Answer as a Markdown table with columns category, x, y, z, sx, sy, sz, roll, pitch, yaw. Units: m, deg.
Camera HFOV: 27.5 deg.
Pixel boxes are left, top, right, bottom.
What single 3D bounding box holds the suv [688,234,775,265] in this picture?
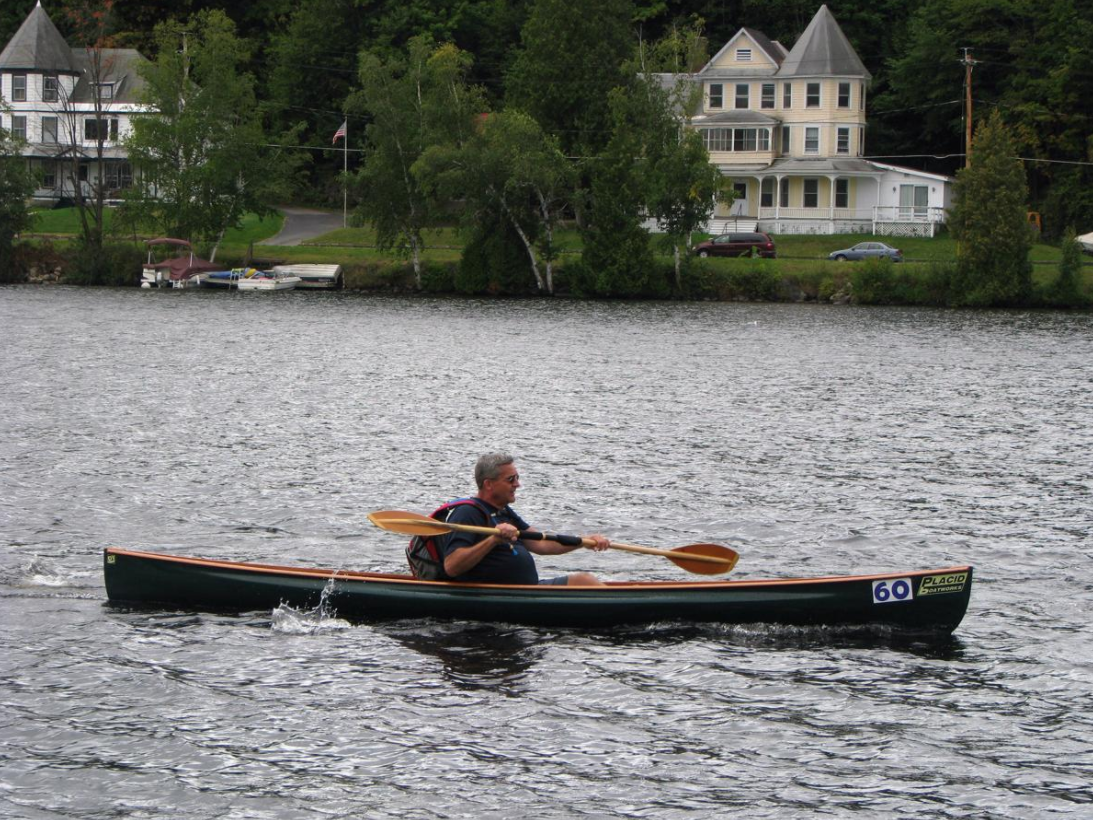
| category | x | y | z | sx | sy | sz | roll | pitch | yaw |
| --- | --- | --- | --- | --- | --- | --- | --- | --- | --- |
| suv | 8.354 | -7.377 | 100.353 | 3.498 | 1.029 | 1.555 | 3 | 5 | 12 |

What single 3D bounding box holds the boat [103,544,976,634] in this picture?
| category | x | y | z | sx | sy | sz | roll | pitch | yaw |
| --- | --- | --- | --- | --- | --- | --- | --- | --- | --- |
| boat | -0.048 | 3.849 | 49.577 | 19.099 | 1.684 | 3.061 | 1 | 0 | -2 |

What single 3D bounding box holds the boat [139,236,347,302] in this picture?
| category | x | y | z | sx | sy | sz | roll | pitch | yaw |
| --- | --- | --- | --- | --- | --- | --- | --- | --- | --- |
| boat | -13.962 | -6.431 | 98.558 | 9.498 | 2.446 | 3.721 | 1 | 3 | 21 |
